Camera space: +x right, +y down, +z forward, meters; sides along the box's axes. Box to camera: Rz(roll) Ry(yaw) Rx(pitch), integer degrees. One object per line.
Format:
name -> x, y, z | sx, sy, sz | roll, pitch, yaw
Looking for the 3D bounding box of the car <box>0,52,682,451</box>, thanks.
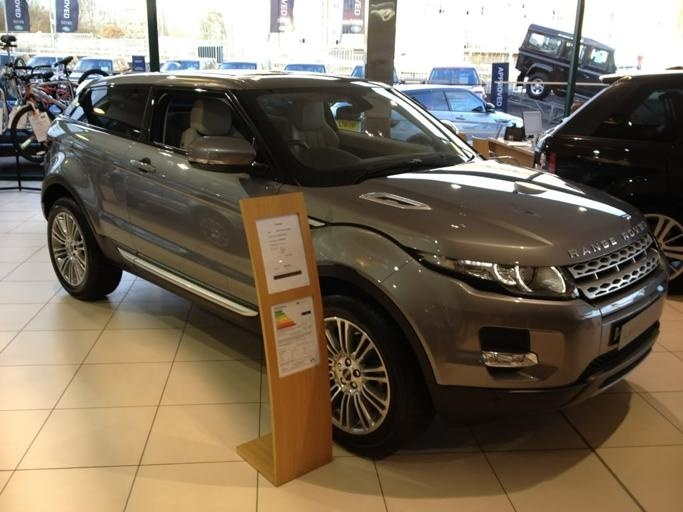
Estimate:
car -> -0.346, -0.134, 3.002 | 3.606, 1.321, 1.796 | 17, 25, 38
